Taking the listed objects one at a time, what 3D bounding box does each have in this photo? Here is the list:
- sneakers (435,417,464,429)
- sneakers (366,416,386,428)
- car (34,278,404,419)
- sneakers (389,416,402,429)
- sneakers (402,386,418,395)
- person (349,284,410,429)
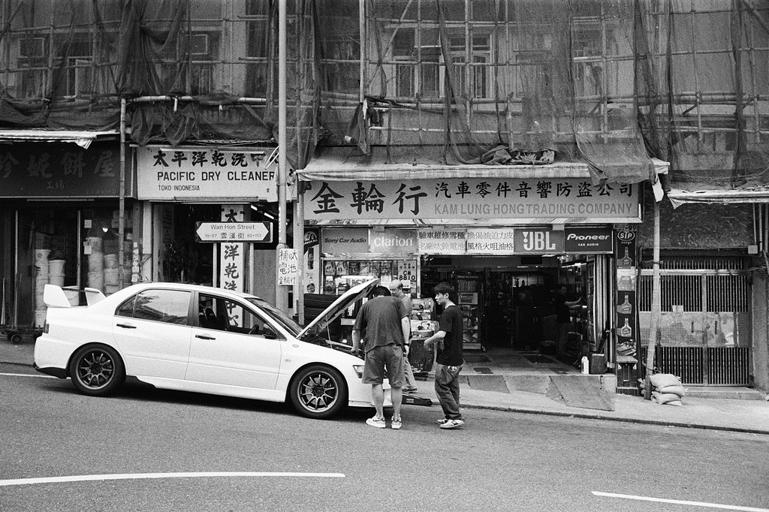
[{"bbox_3d":[1.312,3.417,20.172,0.411,0.201,0.209,4,-2,-2],"label":"sneakers"},{"bbox_3d":[-0.191,3.345,19.840,0.402,0.241,0.178,6,2,31],"label":"sneakers"},{"bbox_3d":[-3.790,1.963,21.282,6.729,2.531,3.120,2,-3,0],"label":"car"},{"bbox_3d":[0.187,3.317,19.897,0.197,0.245,0.318,3,10,-4],"label":"sneakers"},{"bbox_3d":[0.547,3.008,22.096,0.396,0.210,0.154,4,-5,10],"label":"sneakers"},{"bbox_3d":[-0.115,2.049,20.089,1.136,2.653,1.050,6,9,17],"label":"person"}]
